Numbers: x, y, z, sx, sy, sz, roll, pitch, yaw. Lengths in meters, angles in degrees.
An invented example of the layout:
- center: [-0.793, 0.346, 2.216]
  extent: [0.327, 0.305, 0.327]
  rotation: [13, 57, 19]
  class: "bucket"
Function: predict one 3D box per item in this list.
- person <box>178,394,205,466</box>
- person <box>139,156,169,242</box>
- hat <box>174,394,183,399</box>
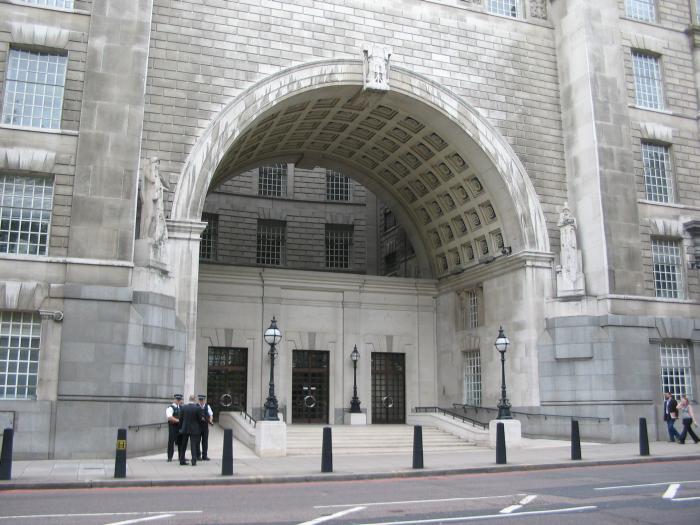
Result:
- center: [-5.498, 5.836, 25.697]
  extent: [0.756, 2.044, 0.664]
  rotation: [1, -12, -11]
  class: "person"
- center: [-8.003, -2.467, 30.292]
  extent: [1.066, 3.550, 0.484]
  rotation: [10, -16, -41]
  class: "person"
- center: [-6.222, 4.798, 27.031]
  extent: [0.343, 0.157, 0.422]
  rotation: [1, -9, -8]
  class: "hat"
